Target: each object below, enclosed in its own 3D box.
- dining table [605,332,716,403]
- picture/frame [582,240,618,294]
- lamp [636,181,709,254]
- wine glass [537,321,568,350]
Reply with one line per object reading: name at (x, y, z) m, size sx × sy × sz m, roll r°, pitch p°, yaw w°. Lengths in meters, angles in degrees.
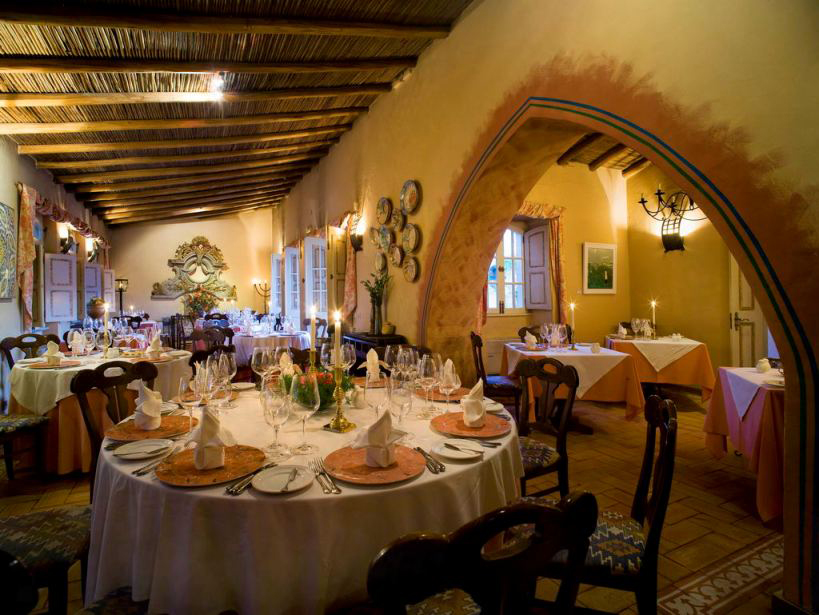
dining table at (2.849, 0.571, 6.032) m, size 0.769 × 0.510 × 0.846 m, roll 0°, pitch -7°, yaw -3°
picture/frame at (2.790, -0.594, 8.188) m, size 0.665 × 1.061 × 0.042 m, roll 0°, pitch -2°, yaw -25°
lamp at (3.655, -1.237, 7.819) m, size 0.333 × 0.930 × 1.001 m, roll -2°, pitch 7°, yaw -21°
wine glass at (1.643, 0.306, 6.240) m, size 0.261 × 0.241 × 0.259 m, roll 2°, pitch -1°, yaw -34°
